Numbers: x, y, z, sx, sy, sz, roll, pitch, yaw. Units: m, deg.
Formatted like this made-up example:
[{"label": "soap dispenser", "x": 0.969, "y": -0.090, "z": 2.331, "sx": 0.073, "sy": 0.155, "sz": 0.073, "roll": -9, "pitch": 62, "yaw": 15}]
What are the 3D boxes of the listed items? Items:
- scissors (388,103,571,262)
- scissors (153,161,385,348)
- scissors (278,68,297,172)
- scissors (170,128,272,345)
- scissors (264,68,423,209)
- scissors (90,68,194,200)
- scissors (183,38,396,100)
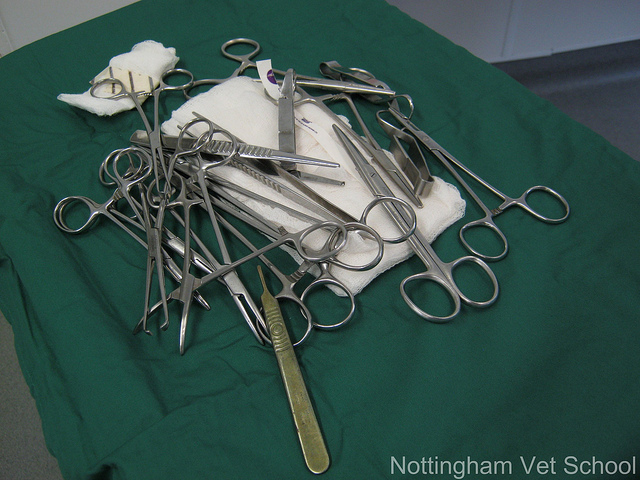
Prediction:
[{"label": "scissors", "x": 0.290, "y": -0.148, "z": 1.328, "sx": 0.259, "sy": 0.498, "sz": 0.020, "roll": -34, "pitch": 30, "yaw": 37}, {"label": "scissors", "x": -0.080, "y": -0.011, "z": 1.257, "sx": 0.505, "sy": 0.028, "sz": 0.265, "roll": 39, "pitch": 70, "yaw": 22}, {"label": "scissors", "x": -0.068, "y": -0.277, "z": 1.403, "sx": 0.032, "sy": 0.027, "sz": 0.258, "roll": -5, "pitch": 55, "yaw": 15}, {"label": "scissors", "x": -0.189, "y": -0.034, "z": 1.251, "sx": 0.177, "sy": 0.015, "sz": 0.463, "roll": -20, "pitch": 67, "yaw": -12}, {"label": "scissors", "x": 0.098, "y": -0.248, "z": 1.412, "sx": 0.204, "sy": 0.009, "sz": 0.418, "roll": -16, "pitch": 48, "yaw": -21}, {"label": "scissors", "x": -0.385, "y": -0.267, "z": 1.423, "sx": 0.183, "sy": 0.011, "sz": 0.383, "roll": -8, "pitch": 43, "yaw": -11}, {"label": "scissors", "x": -0.068, "y": -0.417, "z": 1.559, "sx": 0.437, "sy": 0.011, "sz": 0.228, "roll": 14, "pitch": 46, "yaw": 16}]
